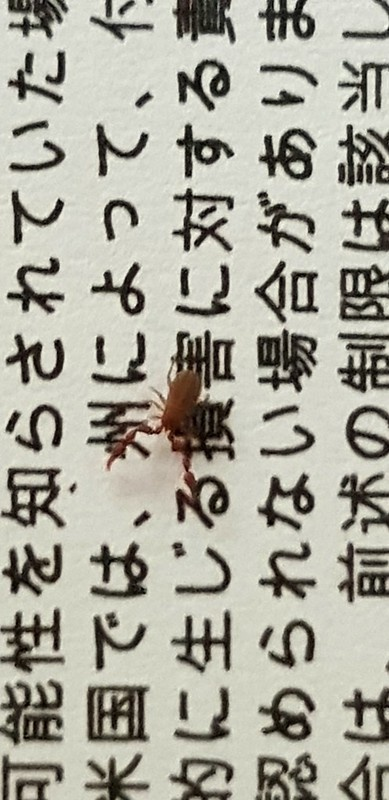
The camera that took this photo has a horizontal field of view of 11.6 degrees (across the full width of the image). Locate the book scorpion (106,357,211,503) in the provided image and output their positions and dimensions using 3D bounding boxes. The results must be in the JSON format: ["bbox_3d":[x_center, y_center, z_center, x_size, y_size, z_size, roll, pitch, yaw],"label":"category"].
[{"bbox_3d":[-0.040,0.040,2.794,0.140,0.037,0.226,14,51,11],"label":"book scorpion"}]
